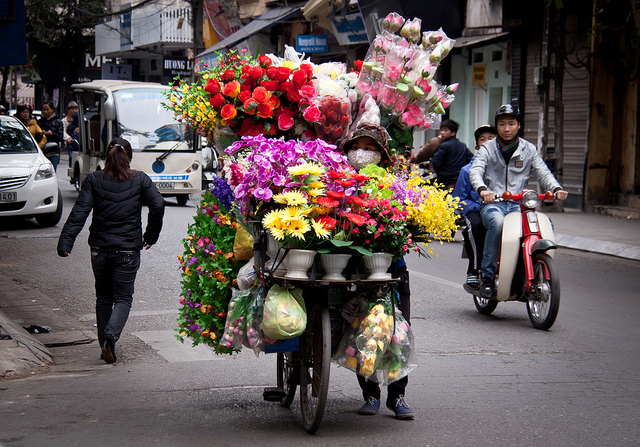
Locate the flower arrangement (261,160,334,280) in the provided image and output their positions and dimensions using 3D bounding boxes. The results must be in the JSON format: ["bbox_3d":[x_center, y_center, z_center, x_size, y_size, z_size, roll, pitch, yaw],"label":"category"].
[{"bbox_3d":[-0.175,-0.036,4.238,0.362,0.849,0.515,0,15,-8],"label":"flower arrangement"}]

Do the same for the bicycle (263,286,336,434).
[{"bbox_3d":[-0.093,0.951,4.524,0.471,0.675,1.074,5,2,-10],"label":"bicycle"}]

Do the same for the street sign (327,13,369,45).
[{"bbox_3d":[1.046,-7.091,24.040,1.148,1.133,1.064,-18,-5,-26],"label":"street sign"}]

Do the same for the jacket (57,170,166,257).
[{"bbox_3d":[-2.091,-0.124,6.341,0.984,0.808,0.263,-1,7,-15],"label":"jacket"}]

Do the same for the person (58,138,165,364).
[{"bbox_3d":[-2.099,0.227,6.363,0.839,2.136,0.807,5,8,31],"label":"person"}]

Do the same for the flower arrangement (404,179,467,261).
[{"bbox_3d":[0.729,-0.053,4.367,0.313,0.429,0.421,27,14,13],"label":"flower arrangement"}]

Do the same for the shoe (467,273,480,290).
[{"bbox_3d":[1.929,0.724,8.011,0.136,0.193,0.067,0,-15,10],"label":"shoe"}]

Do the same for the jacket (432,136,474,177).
[{"bbox_3d":[2.584,-1.308,12.287,0.803,0.740,0.471,-7,11,-17],"label":"jacket"}]

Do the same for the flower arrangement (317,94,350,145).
[{"bbox_3d":[0.047,-0.746,4.626,0.272,0.443,0.263,-4,16,-14],"label":"flower arrangement"}]

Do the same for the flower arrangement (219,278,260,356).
[{"bbox_3d":[-0.540,0.698,4.564,0.206,0.491,0.238,14,11,-8],"label":"flower arrangement"}]

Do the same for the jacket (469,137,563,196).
[{"bbox_3d":[2.305,-0.661,7.628,1.066,0.738,0.820,3,8,-2],"label":"jacket"}]

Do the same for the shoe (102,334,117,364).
[{"bbox_3d":[-2.030,1.194,6.080,0.099,0.296,0.122,-1,4,4],"label":"shoe"}]

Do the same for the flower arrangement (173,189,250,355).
[{"bbox_3d":[-0.783,0.352,4.924,0.544,1.294,0.862,-1,12,-1],"label":"flower arrangement"}]

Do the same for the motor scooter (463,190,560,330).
[{"bbox_3d":[2.381,0.499,7.523,0.419,1.409,1.143,-5,9,-40],"label":"motor scooter"}]

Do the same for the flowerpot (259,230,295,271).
[{"bbox_3d":[-0.315,0.175,4.289,0.228,0.284,0.235,0,3,12],"label":"flowerpot"}]

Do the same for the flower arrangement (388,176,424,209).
[{"bbox_3d":[0.573,-0.201,4.293,0.191,0.123,0.194,23,39,-3],"label":"flower arrangement"}]

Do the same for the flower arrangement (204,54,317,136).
[{"bbox_3d":[-0.512,-0.980,4.899,0.877,0.567,0.759,-9,16,-20],"label":"flower arrangement"}]

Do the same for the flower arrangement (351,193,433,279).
[{"bbox_3d":[0.362,0.123,4.338,0.581,0.582,0.680,-6,-2,17],"label":"flower arrangement"}]

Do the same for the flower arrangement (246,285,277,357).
[{"bbox_3d":[-0.421,0.679,4.393,0.195,0.410,0.255,-2,8,-5],"label":"flower arrangement"}]

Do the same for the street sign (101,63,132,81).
[{"bbox_3d":[-12.235,-9.084,38.166,1.537,1.008,1.548,-3,8,-30],"label":"street sign"}]

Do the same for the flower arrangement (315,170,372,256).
[{"bbox_3d":[0.120,-0.064,4.227,0.287,0.623,0.409,0,14,-5],"label":"flower arrangement"}]

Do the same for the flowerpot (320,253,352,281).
[{"bbox_3d":[0.087,0.288,4.266,0.254,0.192,0.228,7,-4,-25],"label":"flowerpot"}]

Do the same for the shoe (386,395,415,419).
[{"bbox_3d":[0.586,1.335,4.728,0.104,0.116,0.246,0,6,-35],"label":"shoe"}]

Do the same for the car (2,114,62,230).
[{"bbox_3d":[-6.213,-0.982,13.401,1.289,1.299,2.364,-1,0,-20],"label":"car"}]

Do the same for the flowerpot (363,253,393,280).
[{"bbox_3d":[0.427,0.272,4.306,0.191,0.164,0.200,5,6,39],"label":"flowerpot"}]

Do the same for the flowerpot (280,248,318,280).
[{"bbox_3d":[-0.152,0.256,4.266,0.233,0.197,0.242,8,1,2],"label":"flowerpot"}]
